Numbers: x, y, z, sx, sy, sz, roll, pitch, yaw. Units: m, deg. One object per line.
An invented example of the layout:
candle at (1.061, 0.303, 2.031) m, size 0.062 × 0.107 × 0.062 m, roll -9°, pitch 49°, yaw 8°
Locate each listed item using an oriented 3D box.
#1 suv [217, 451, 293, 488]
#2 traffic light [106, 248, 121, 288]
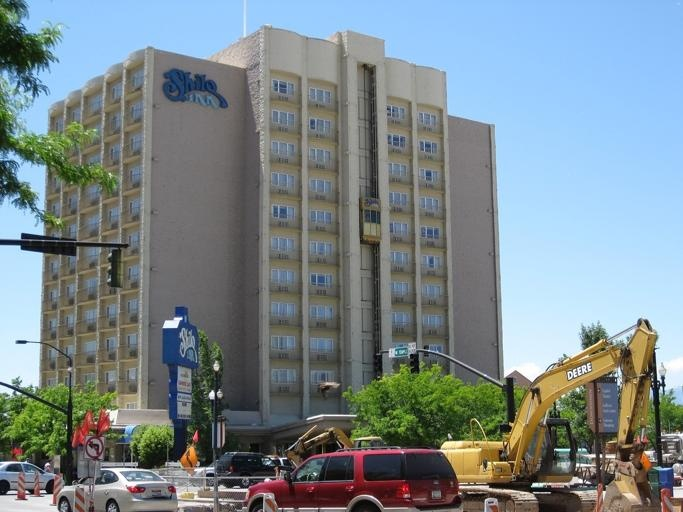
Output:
suv at (-5.230, 12.366, 61.170) m, size 3.963 × 2.158 × 2.357 m, roll 8°, pitch -15°, yaw -35°
traffic light at (-8.243, 0.384, 38.015) m, size 0.368 × 1.369 × 0.751 m, roll 0°, pitch -13°, yaw -6°
